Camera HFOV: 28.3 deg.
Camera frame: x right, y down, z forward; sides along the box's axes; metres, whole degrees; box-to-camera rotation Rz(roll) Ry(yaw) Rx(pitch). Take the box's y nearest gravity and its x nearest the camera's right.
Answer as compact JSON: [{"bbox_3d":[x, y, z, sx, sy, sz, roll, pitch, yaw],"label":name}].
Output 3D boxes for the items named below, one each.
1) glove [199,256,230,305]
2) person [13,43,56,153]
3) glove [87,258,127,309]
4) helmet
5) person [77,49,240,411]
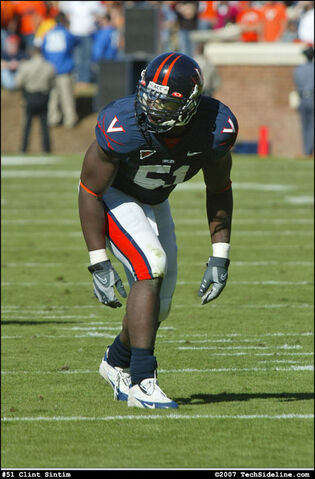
[{"bbox_3d":[0.247,0.172,2.731,0.141,0.204,0.076,13,-14,2],"label":"glove"},{"bbox_3d":[-2.380,-2.658,12.377,0.786,2.259,0.799,-6,30,-10],"label":"person"},{"bbox_3d":[-0.155,0.163,2.470,0.059,0.192,0.154,-26,-3,-35],"label":"glove"},{"bbox_3d":[0.052,-0.600,2.448,0.274,0.245,0.303,10,40,2],"label":"helmet"},{"bbox_3d":[-0.033,-0.064,2.455,0.614,1.220,0.959,5,29,9],"label":"person"}]
